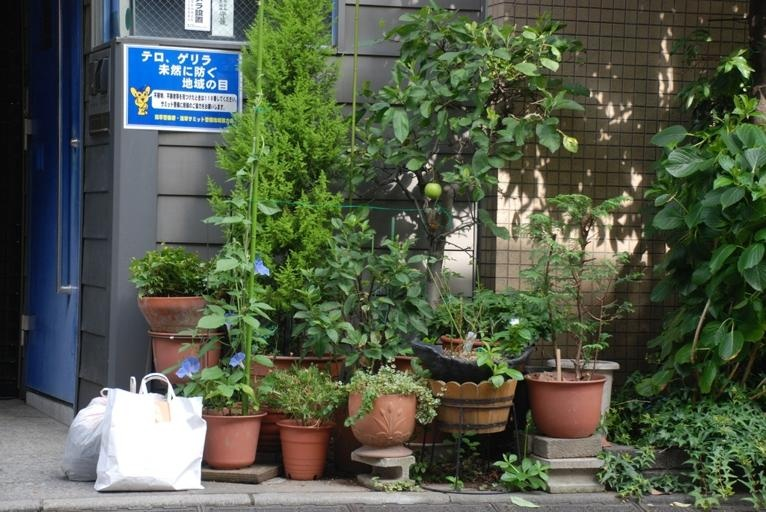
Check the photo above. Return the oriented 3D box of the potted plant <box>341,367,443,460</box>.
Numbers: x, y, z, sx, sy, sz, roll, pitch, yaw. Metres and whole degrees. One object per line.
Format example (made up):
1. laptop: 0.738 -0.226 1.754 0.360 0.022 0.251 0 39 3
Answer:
1. potted plant: 0.051 1.053 5.350 0.532 0.494 0.544 -3 -6 44

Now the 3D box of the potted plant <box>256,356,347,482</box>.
1. potted plant: -0.581 1.176 5.559 0.651 0.745 0.382 3 6 11

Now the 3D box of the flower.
1. flower: -1.185 0.908 5.582 0.557 0.285 0.724 12 1 9

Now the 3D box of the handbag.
1. handbag: -1.512 1.198 5.107 0.627 0.710 0.249 5 -13 -20

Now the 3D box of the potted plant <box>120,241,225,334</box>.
1. potted plant: -1.544 0.268 5.893 0.698 0.719 0.586 1 -11 -5

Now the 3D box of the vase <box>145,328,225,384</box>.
1. vase: -1.456 0.702 5.697 0.396 0.304 0.412 -2 -4 30

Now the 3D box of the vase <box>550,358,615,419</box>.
1. vase: 1.500 0.955 5.774 0.404 0.316 0.412 0 -1 -19

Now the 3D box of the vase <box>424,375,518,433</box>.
1. vase: 0.715 1.061 5.520 0.503 0.298 0.527 -3 -14 -4

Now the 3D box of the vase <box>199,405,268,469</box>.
1. vase: -1.070 1.316 5.533 0.476 0.361 0.467 8 -10 -35

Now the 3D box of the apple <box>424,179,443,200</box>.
1. apple: 0.382 -0.511 5.982 0.127 0.138 0.132 1 3 4
